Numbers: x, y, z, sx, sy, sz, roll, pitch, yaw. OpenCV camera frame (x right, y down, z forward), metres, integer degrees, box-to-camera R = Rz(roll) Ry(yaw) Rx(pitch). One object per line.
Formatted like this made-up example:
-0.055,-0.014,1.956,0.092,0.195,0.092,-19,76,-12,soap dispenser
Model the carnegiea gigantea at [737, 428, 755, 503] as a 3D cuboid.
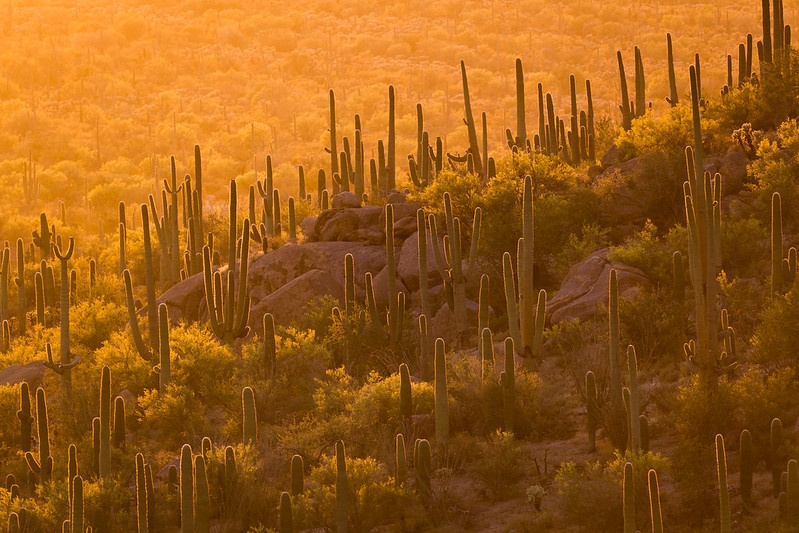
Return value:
13.235,7.861,69.299,0.540,2.263,0.367,-3,-2,-6,carnegiea gigantea
